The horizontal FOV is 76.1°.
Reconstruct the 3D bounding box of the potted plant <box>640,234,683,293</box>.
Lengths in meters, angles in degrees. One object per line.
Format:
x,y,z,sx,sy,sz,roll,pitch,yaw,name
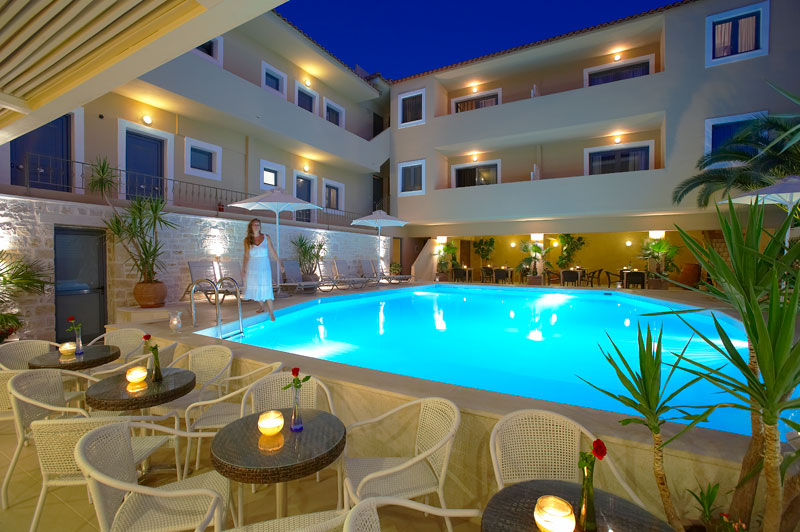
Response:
8.756,-0.287,17.224,0.760,1.437,0.902,1,3,-38,potted plant

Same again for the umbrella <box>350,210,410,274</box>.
-0.580,-0.933,15.814,1.489,1.662,1.613,-8,-10,43,umbrella
